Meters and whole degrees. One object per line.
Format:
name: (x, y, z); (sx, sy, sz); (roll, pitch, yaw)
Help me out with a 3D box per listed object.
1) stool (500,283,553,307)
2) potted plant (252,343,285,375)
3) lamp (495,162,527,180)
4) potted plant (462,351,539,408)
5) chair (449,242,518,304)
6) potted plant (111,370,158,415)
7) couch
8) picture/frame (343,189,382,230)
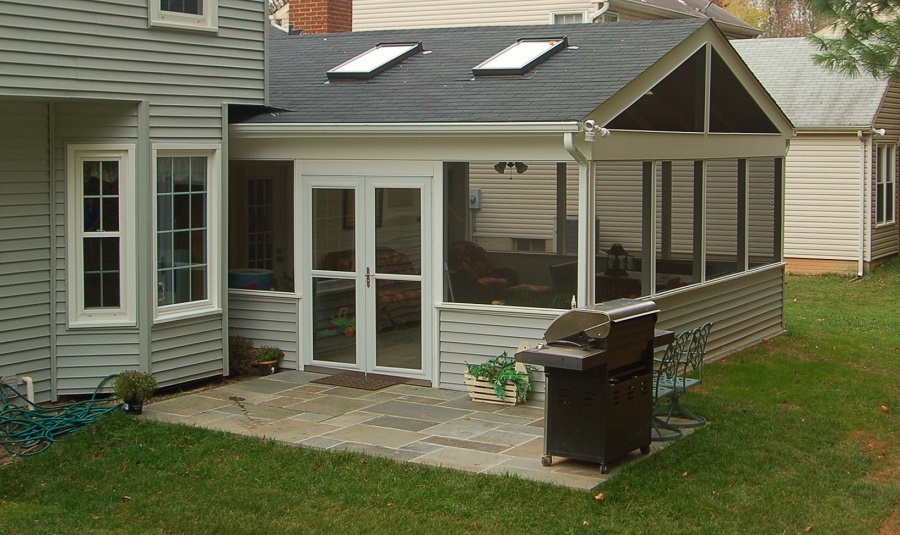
stool: (1.216, 0.425, 11.005); (0.637, 0.353, 0.187); (0, -7, 30)
potted plant: (-3.066, 1.545, 12.181); (0.496, 0.370, 0.480); (-2, 0, 27)
lamp: (1.069, -1.698, 12.667); (0.438, 0.193, 0.443); (-10, 17, -32)
potted plant: (0.763, 1.688, 11.215); (1.031, 0.585, 0.940); (1, 4, 2)
chair: (0.616, 0.052, 11.675); (1.055, 0.912, 1.047); (0, 3, 21)
potted plant: (-4.349, 1.770, 10.378); (0.711, 0.656, 0.612); (0, -2, -13)
couch: (-1.119, 0.302, 12.145); (1.571, 1.281, 0.892); (-6, 6, -6)
picture/frame: (-1.378, -0.956, 11.696); (0.770, 0.661, 0.061); (0, 0, 24)
